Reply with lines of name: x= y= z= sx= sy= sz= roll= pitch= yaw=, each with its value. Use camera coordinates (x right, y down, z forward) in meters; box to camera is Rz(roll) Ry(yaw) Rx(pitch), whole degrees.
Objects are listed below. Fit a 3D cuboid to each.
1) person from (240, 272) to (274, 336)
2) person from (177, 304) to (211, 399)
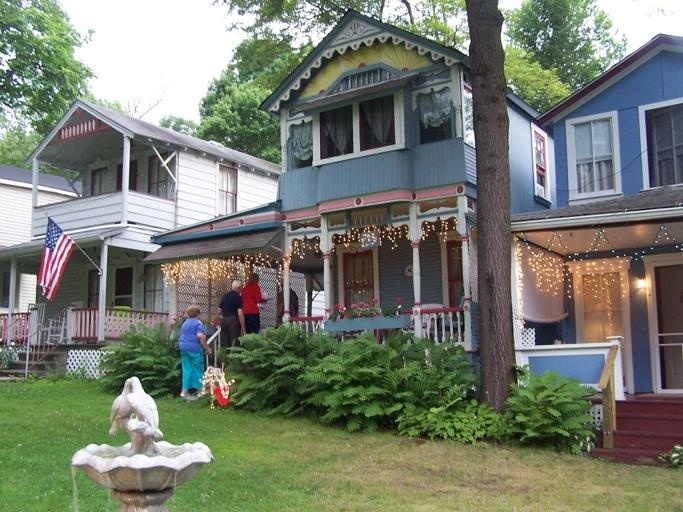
person: x=-2.311 y=1.282 z=16.798 sx=0.564 sy=1.571 sz=0.691 roll=5 pitch=-1 yaw=-31
person: x=-3.463 y=2.201 z=14.781 sx=0.708 sy=2.184 sz=0.831 roll=-2 pitch=-2 yaw=39
